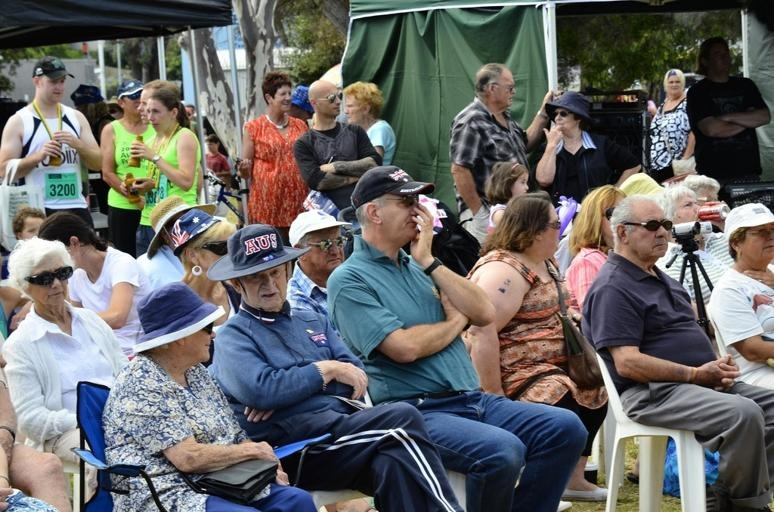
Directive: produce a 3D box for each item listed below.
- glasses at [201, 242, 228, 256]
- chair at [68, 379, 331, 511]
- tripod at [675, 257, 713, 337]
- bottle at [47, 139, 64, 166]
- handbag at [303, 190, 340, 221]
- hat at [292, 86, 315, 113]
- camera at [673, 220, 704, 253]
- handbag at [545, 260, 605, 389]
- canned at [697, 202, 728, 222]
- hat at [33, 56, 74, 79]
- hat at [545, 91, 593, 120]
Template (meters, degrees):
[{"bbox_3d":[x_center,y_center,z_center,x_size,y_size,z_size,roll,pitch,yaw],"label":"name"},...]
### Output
[{"bbox_3d":[-1.421,-0.074,10.105,0.161,0.070,0.161,-1,3,5],"label":"glasses"},{"bbox_3d":[-1.392,1.211,8.872,0.961,1.034,1.259,-8,-2,19],"label":"chair"},{"bbox_3d":[2.619,0.325,10.603,0.272,0.722,0.465,-1,5,14],"label":"tripod"},{"bbox_3d":[-3.236,-1.000,12.240,0.154,0.243,0.115,-6,6,-37],"label":"bottle"},{"bbox_3d":[-0.670,-0.515,12.457,0.375,0.237,0.179,34,-15,-4],"label":"handbag"},{"bbox_3d":[-0.966,-1.788,14.208,0.329,0.167,0.323,19,17,-11],"label":"hat"},{"bbox_3d":[2.503,-0.165,10.413,0.264,0.294,0.235,-5,2,23],"label":"camera"},{"bbox_3d":[1.498,0.564,10.118,0.462,1.017,0.273,0,6,23],"label":"handbag"},{"bbox_3d":[2.905,-0.397,11.122,0.137,0.131,0.282,1,-3,-29],"label":"canned"},{"bbox_3d":[-3.325,-1.839,12.249,0.302,0.158,0.214,-2,6,20],"label":"hat"},{"bbox_3d":[1.937,-1.530,12.754,0.394,0.205,0.310,35,-15,-34],"label":"hat"}]
